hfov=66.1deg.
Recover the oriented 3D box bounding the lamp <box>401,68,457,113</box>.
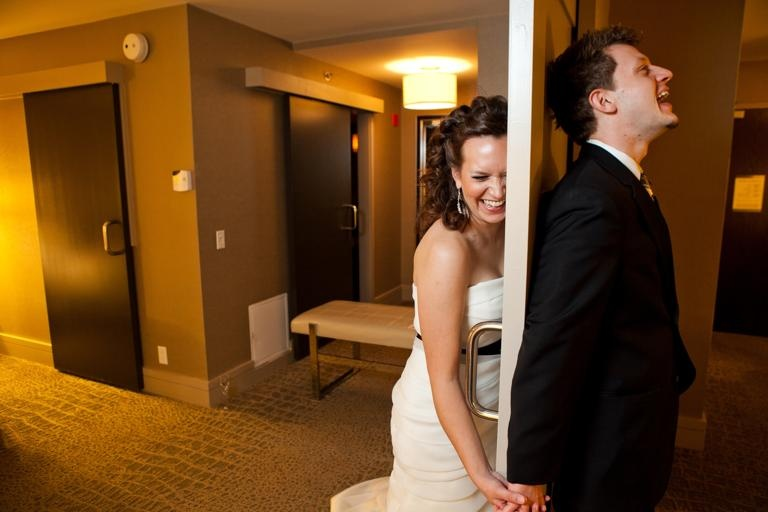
[{"bbox_3d":[0.443,-1.688,6.107,0.527,0.277,0.538,2,8,26],"label":"lamp"}]

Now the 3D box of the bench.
[{"bbox_3d":[-0.195,0.618,5.392,1.368,0.733,0.764,4,16,21],"label":"bench"}]
